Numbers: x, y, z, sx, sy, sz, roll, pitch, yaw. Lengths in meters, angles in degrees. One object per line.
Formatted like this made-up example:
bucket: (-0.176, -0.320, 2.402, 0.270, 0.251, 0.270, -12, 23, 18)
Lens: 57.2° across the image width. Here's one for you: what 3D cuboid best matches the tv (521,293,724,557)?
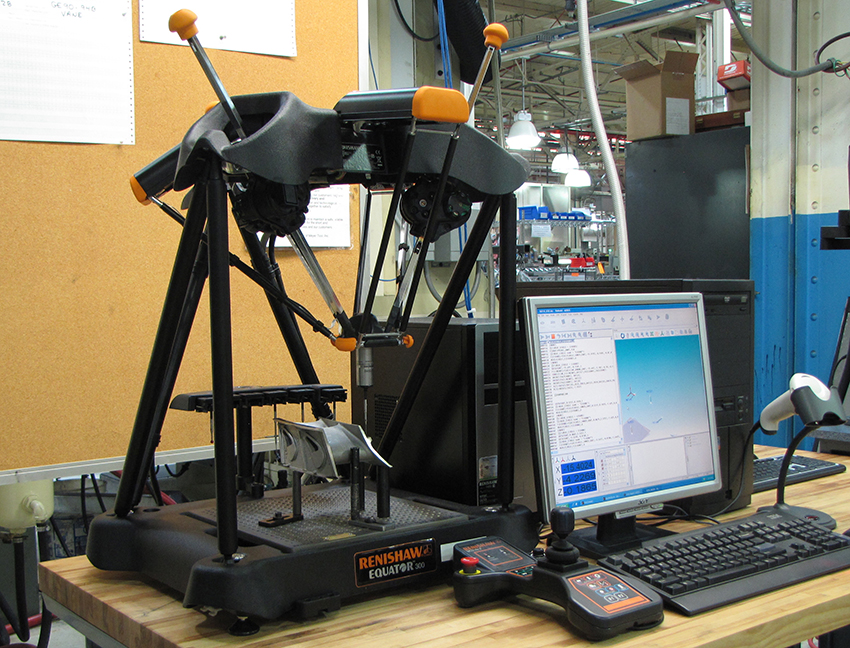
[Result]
tv: (0.403, 0.207, 1.635, 0.574, 0.525, 0.161, -1, -4, -34)
